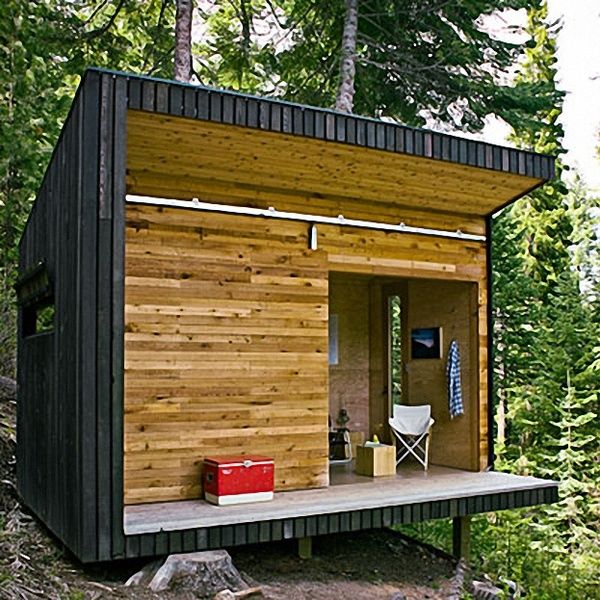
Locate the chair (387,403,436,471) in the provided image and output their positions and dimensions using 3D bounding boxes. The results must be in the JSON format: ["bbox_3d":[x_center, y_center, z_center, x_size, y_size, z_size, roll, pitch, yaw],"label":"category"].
[{"bbox_3d":[1.457,1.761,10.188,0.639,0.778,0.561,3,-10,-10],"label":"chair"}]

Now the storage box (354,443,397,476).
[{"bbox_3d":[0.896,1.888,9.171,0.506,0.401,0.404,11,2,6],"label":"storage box"}]

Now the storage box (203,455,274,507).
[{"bbox_3d":[-0.592,1.736,7.589,0.658,0.388,0.352,5,-6,-38],"label":"storage box"}]
